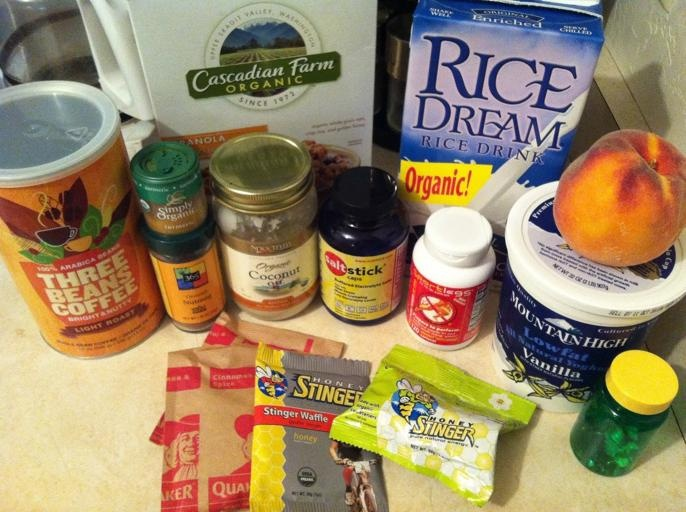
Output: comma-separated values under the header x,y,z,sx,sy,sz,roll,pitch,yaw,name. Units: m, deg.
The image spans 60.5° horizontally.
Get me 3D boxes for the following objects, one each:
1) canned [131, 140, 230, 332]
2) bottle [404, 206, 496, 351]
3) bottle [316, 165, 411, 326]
x,y,z,sx,sy,sz,roll,pitch,yaw,name
-0.230,-0.025,0.840,0.097,0.264,0.144,-14,50,-12,canned
0.150,0.039,0.834,0.109,0.196,0.106,0,49,0,bottle
0.029,-0.012,0.867,0.132,0.207,0.138,0,49,0,bottle
